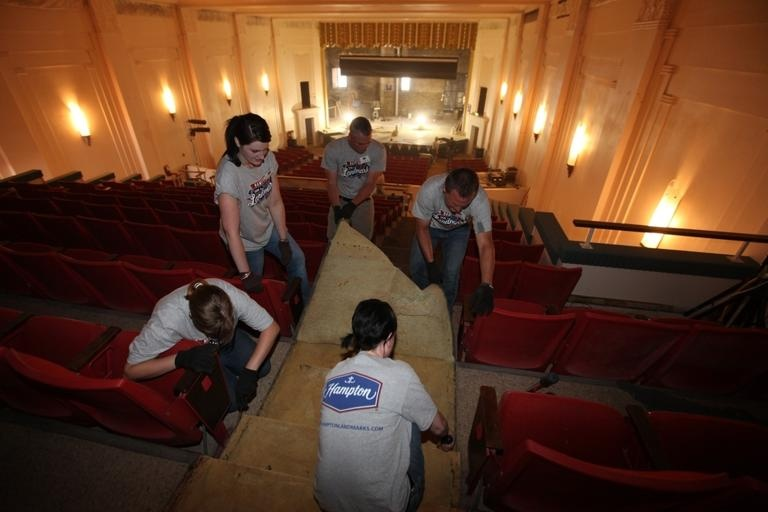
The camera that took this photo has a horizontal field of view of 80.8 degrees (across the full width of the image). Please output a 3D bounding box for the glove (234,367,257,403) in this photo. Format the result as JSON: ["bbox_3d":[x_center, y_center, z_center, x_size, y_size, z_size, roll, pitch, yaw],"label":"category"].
[{"bbox_3d":[-1.515,1.409,4.956,0.294,0.358,0.149,7,-2,-13],"label":"glove"}]

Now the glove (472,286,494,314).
[{"bbox_3d":[1.149,0.529,5.296,0.256,0.217,0.465,8,31,13],"label":"glove"}]

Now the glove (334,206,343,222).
[{"bbox_3d":[-0.657,-0.623,6.611,0.068,0.215,0.154,7,-4,-41],"label":"glove"}]

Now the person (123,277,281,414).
[{"bbox_3d":[-1.934,0.996,4.867,0.862,1.258,0.777,48,38,-2],"label":"person"}]

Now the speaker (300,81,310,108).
[{"bbox_3d":[-3.542,-7.294,20.212,0.203,1.145,0.661,15,33,24],"label":"speaker"}]

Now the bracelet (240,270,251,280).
[{"bbox_3d":[-1.658,0.231,5.406,0.086,0.091,0.100,-3,42,31],"label":"bracelet"}]
